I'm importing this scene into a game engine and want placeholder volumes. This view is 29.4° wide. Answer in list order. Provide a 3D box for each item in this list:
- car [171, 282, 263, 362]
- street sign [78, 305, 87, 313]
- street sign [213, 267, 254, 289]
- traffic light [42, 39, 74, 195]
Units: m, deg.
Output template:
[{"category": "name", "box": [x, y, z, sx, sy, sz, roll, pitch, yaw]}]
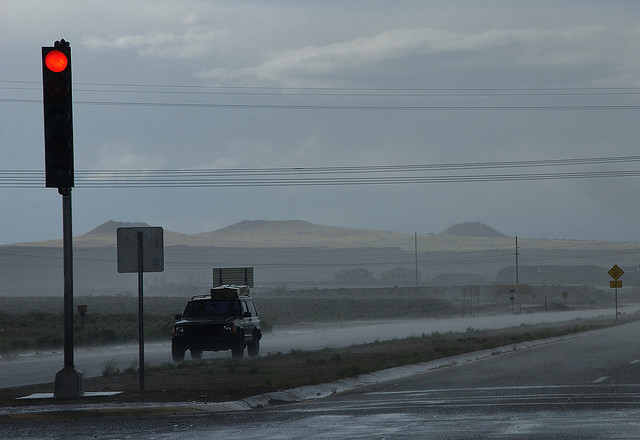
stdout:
[{"category": "car", "box": [-5.137, 5.097, 61.089, 3.594, 2.932, 6.023, -1, 0, 7]}, {"category": "street sign", "box": [-14.224, 5.257, 72.970, 0.811, 0.493, 0.414, 0, -1, 18]}, {"category": "street sign", "box": [-5.656, 3.710, 79.165, 1.936, 0.913, 1.144, -1, -3, 7]}, {"category": "traffic light", "box": [-10.379, -4.244, 48.363, 1.213, 5.785, 0.886, -4, -6, -11]}]
